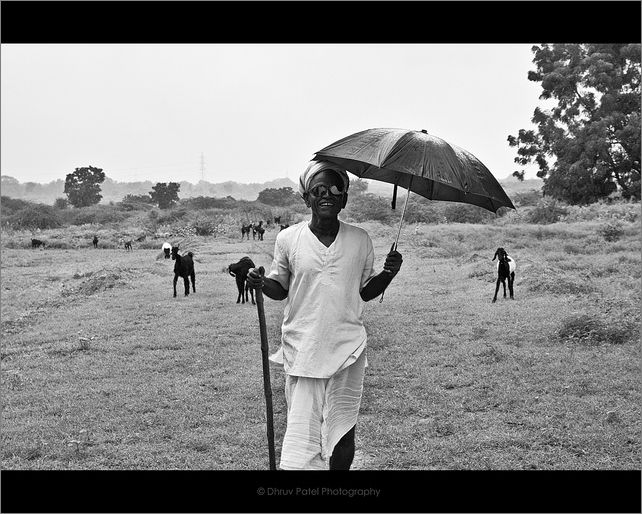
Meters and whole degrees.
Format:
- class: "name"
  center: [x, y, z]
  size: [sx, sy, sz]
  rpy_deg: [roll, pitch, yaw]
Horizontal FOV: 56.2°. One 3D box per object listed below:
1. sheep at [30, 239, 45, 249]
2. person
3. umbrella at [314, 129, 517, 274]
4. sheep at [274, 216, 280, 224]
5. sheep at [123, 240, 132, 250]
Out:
- class: "sheep"
  center: [-5.718, -0.274, 12.069]
  size: [0.156, 0.200, 0.726]
  rpy_deg: [-1, 5, -13]
- class: "person"
  center: [0.018, 0.489, 5.166]
  size: [1.014, 2.622, 0.504]
  rpy_deg: [0, 5, -7]
- class: "umbrella"
  center: [0.904, -0.566, 5.783]
  size: [1.781, 1.281, 1.913]
  rpy_deg: [9, 9, -18]
- class: "sheep"
  center: [-1.574, -1.368, 22.072]
  size: [0.217, 0.438, 0.227]
  rpy_deg: [1, 11, 1]
- class: "sheep"
  center: [-5.188, -0.328, 16.216]
  size: [0.169, 0.241, 0.456]
  rpy_deg: [1, 5, 5]
